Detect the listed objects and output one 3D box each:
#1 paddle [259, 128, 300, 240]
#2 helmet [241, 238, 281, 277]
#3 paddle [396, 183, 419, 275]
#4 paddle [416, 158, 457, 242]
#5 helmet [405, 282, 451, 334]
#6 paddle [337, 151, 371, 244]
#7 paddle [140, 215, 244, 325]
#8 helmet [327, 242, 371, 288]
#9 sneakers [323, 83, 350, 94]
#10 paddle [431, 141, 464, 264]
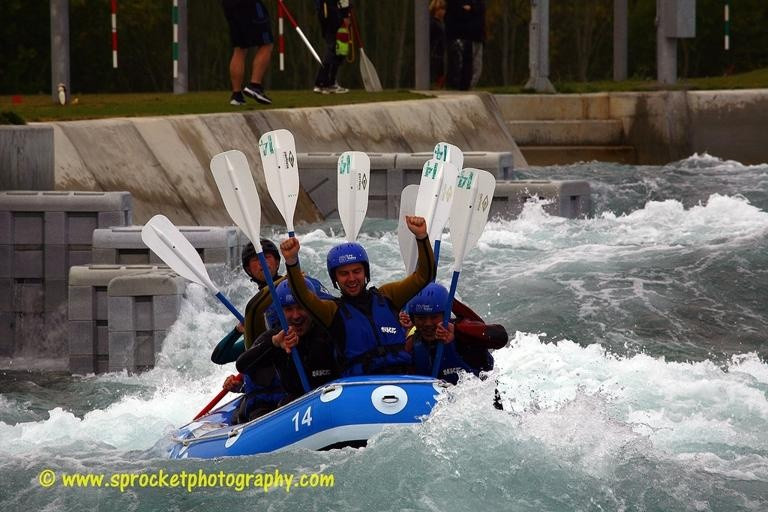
[{"bbox_3d":[-0.959,-0.732,9.568,0.318,1.147,0.097,-12,-8,0],"label":"paddle"},{"bbox_3d":[-1.234,-0.056,9.877,0.307,0.366,0.401,-12,-30,-16],"label":"helmet"},{"bbox_3d":[0.210,-0.252,9.786,0.220,0.799,0.081,9,10,38],"label":"paddle"},{"bbox_3d":[0.488,-0.533,9.446,0.325,0.825,0.117,16,6,10],"label":"paddle"},{"bbox_3d":[0.401,0.438,9.142,0.386,0.450,0.478,5,1,20],"label":"helmet"},{"bbox_3d":[-0.302,-0.559,9.839,0.270,0.919,0.125,1,5,9],"label":"paddle"},{"bbox_3d":[-2.115,0.218,11.123,0.351,1.687,0.091,-45,-5,-12],"label":"paddle"},{"bbox_3d":[-0.316,0.077,9.030,0.359,0.421,0.444,-12,9,-10],"label":"helmet"},{"bbox_3d":[-0.917,-3.175,19.429,0.496,0.212,0.171,-3,12,-6],"label":"sneakers"},{"bbox_3d":[0.585,-0.595,9.834,0.292,1.232,0.095,7,-15,3],"label":"paddle"}]
